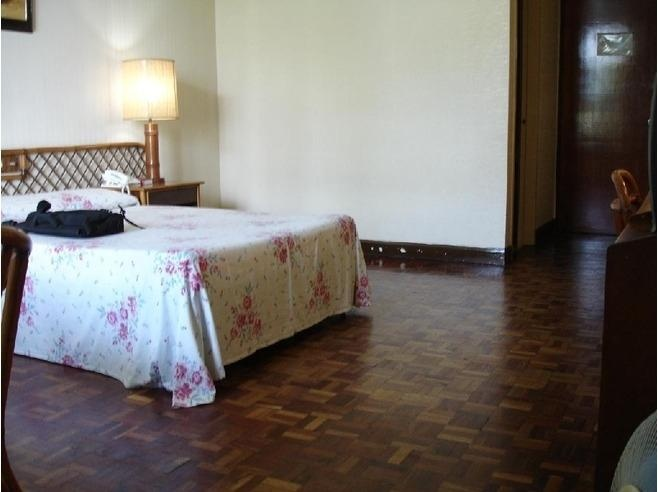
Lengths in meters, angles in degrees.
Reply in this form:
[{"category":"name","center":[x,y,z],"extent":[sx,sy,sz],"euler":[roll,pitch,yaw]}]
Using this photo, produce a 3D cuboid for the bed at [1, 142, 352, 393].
[{"category":"bed","center":[-0.807,0.209,3.052],"extent":[1.542,0.709,1.602],"euler":[5,13,26]}]
